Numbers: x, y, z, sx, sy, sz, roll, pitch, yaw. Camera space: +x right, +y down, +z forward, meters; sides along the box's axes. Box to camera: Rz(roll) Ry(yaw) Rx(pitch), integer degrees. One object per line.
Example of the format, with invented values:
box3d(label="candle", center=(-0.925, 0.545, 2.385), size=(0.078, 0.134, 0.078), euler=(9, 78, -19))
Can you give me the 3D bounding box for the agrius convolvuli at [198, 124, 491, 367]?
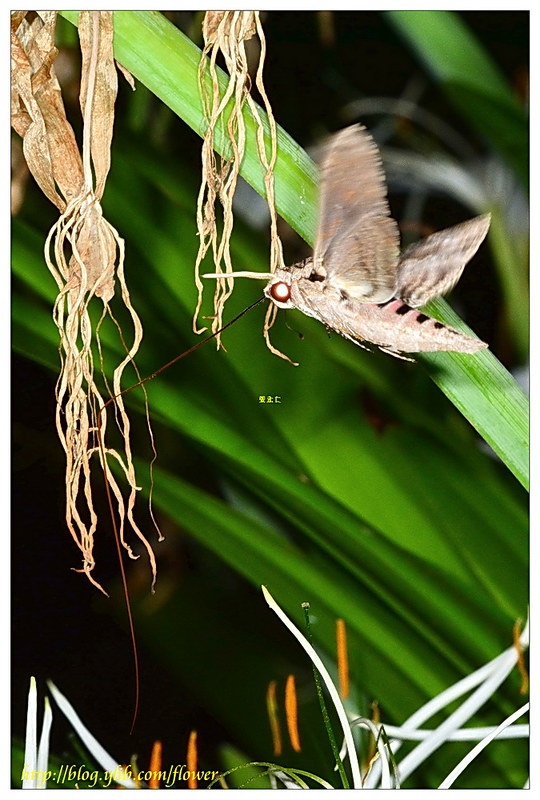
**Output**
box3d(label="agrius convolvuli", center=(0.078, -0.121, 0.834), size=(0.274, 0.155, 0.281), euler=(10, -26, 1))
